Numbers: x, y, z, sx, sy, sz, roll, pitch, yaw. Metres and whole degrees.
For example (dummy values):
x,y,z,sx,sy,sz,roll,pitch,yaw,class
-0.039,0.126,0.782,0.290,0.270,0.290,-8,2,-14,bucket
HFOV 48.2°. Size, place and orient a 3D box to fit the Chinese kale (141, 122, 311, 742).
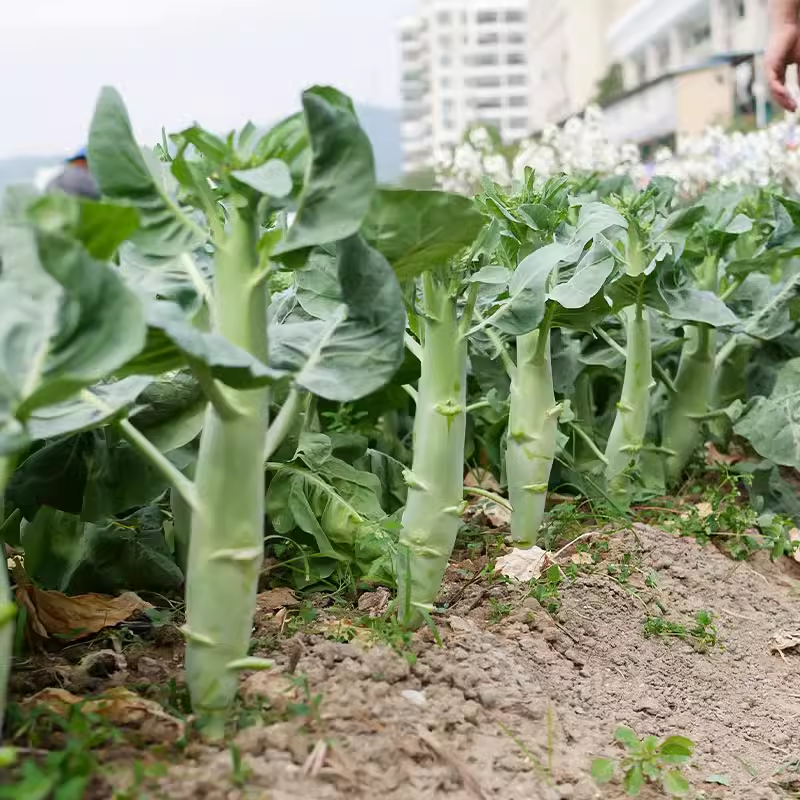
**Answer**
x,y,z,sx,sy,sz,roll,pitch,yaw,class
-0.211,0.018,1.235,0.223,0.812,0.423,-2,13,-5,Chinese kale
